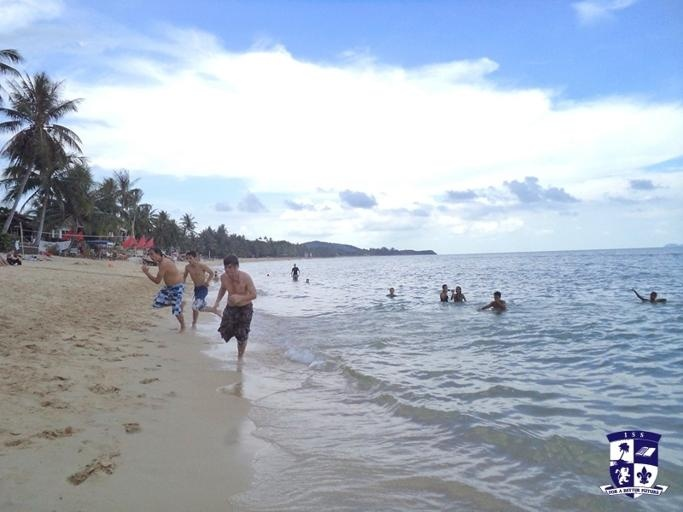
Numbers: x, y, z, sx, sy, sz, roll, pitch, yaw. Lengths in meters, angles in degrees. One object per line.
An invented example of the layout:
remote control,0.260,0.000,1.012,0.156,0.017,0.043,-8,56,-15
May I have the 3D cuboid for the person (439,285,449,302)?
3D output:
person,3.805,1.360,18.249,0.318,0.719,1.444,-1,4,11
